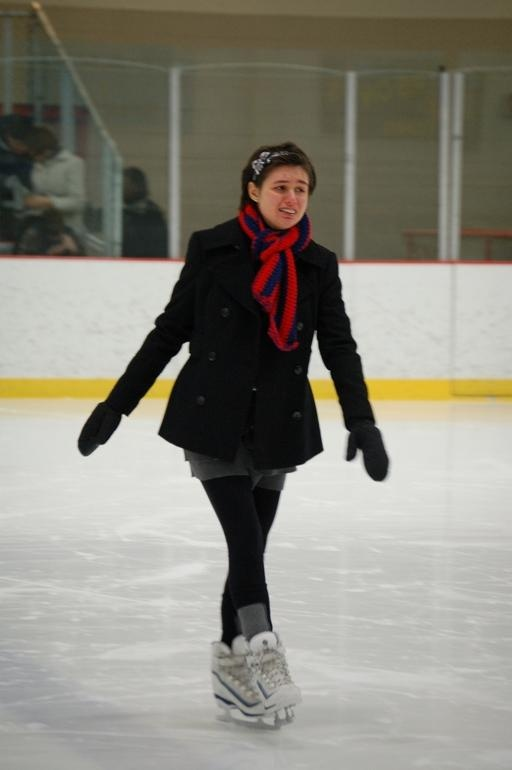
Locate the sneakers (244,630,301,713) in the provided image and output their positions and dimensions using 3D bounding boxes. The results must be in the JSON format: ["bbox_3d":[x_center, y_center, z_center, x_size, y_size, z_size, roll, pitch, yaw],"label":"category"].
[{"bbox_3d":[0.025,0.414,1.140,0.059,0.079,0.177,-13,0,-7],"label":"sneakers"}]

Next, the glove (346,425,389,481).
[{"bbox_3d":[0.172,0.109,1.220,0.064,0.094,0.112,1,1,7],"label":"glove"}]

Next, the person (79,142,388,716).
[{"bbox_3d":[-0.014,0.034,1.274,0.464,0.870,0.298,2,1,32],"label":"person"}]

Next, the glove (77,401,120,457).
[{"bbox_3d":[-0.262,0.064,1.278,0.061,0.087,0.034,43,-50,-17],"label":"glove"}]
